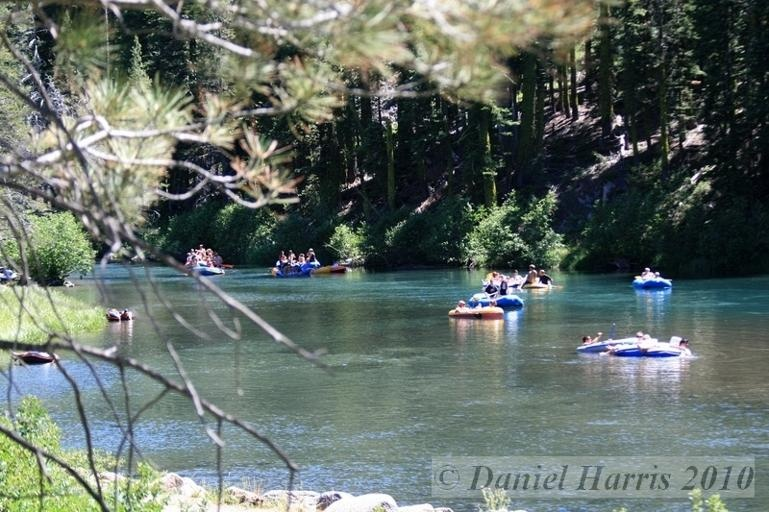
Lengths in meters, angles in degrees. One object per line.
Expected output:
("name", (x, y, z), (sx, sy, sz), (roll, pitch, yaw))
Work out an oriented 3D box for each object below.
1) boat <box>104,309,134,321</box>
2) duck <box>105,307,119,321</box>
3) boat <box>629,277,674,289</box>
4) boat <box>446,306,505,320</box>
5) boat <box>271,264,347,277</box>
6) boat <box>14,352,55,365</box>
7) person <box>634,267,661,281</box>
("boat", (-10.958, 2.345, 65.992), (0.992, 0.535, 1.304), (3, -5, -32))
("duck", (-11.510, 2.447, 68.360), (0.605, 0.496, 1.216), (-2, 4, -19))
("boat", (12.560, 1.209, 77.308), (1.085, 0.560, 2.242), (-4, 5, -37))
("boat", (3.862, 2.366, 68.551), (1.478, 0.361, 0.910), (2, -5, -3))
("boat", (-4.696, 0.839, 98.937), (4.482, 0.506, 2.994), (-1, 4, -6))
("boat", (-12.114, 3.428, 55.510), (1.481, 0.443, 1.086), (3, -8, 8))
("person", (12.653, 0.697, 77.903), (0.843, 0.524, 1.288), (-2, -10, 1))
